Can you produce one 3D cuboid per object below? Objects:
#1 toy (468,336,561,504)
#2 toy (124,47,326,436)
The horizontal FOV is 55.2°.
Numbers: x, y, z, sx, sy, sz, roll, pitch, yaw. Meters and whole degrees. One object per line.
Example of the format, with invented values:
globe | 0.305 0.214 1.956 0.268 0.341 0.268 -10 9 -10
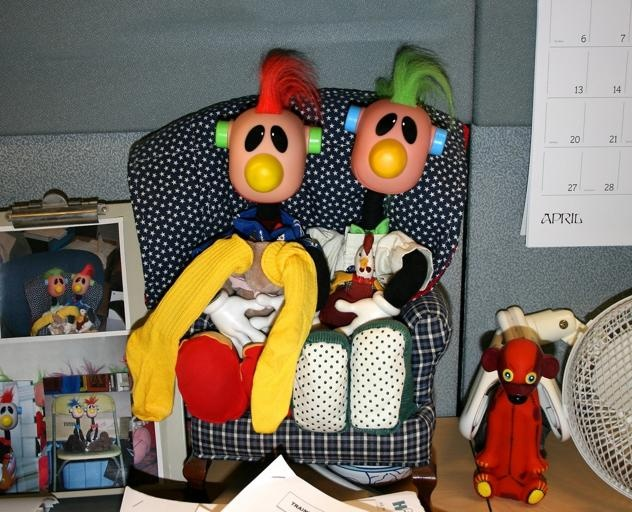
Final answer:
toy | 0.389 0.316 1.184 0.142 0.331 0.230 3 0 18
toy | -0.158 -0.055 1.132 0.363 0.653 0.264 2 0 -15
